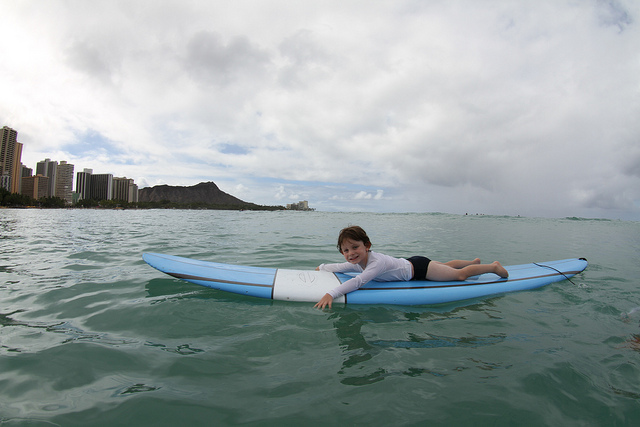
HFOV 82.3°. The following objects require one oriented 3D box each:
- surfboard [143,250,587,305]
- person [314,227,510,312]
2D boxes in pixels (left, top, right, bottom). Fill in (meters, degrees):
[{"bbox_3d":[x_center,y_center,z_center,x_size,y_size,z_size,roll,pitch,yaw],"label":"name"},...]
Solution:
[{"bbox_3d":[0.668,1.156,6.550,7.139,0.581,1.058,0,-1,-6],"label":"surfboard"},{"bbox_3d":[1.421,0.904,6.101,3.030,1.277,0.452,3,-3,-18],"label":"person"}]
